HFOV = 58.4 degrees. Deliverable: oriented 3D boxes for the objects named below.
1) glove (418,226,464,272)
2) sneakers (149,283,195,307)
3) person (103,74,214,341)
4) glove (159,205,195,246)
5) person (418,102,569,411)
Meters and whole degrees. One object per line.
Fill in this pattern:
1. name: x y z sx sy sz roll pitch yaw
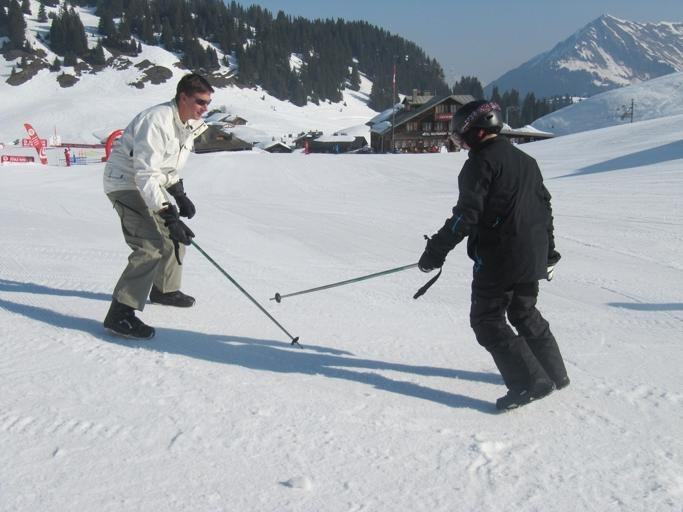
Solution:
1. glove: 0.698 -0.070 4.191 0.212 0.361 0.134 44 22 7
2. sneakers: -1.647 0.387 6.004 0.513 0.216 0.175 2 12 4
3. person: -1.593 -0.463 5.288 1.007 2.155 0.961 -2 13 -7
4. glove: -1.388 -0.257 5.079 0.252 0.369 0.219 -5 14 -18
5. person: 1.104 -0.022 4.177 0.986 2.023 0.624 5 14 20
